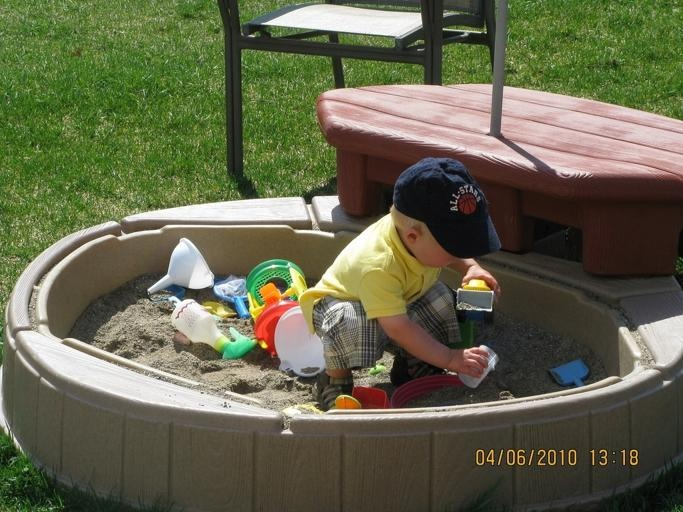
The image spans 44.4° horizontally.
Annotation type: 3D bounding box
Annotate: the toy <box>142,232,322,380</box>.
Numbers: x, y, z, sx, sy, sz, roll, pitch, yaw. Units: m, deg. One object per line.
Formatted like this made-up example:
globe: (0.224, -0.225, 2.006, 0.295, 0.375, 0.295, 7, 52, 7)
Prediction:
toy: (-0.410, 0.172, 3.411, 0.866, 0.249, 0.576, 13, 39, 13)

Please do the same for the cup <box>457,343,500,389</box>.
cup: (0.465, 0.385, 2.879, 0.088, 0.138, 0.087, 34, 14, -9)

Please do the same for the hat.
hat: (0.351, -0.164, 2.794, 0.356, 0.234, 0.205, 28, 44, 30)

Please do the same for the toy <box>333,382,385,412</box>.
toy: (0.062, 0.479, 2.853, 0.115, 0.045, 0.090, 1, 12, 3)

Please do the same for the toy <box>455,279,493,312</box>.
toy: (0.480, 0.150, 3.034, 0.106, 0.087, 0.111, 4, 17, 11)

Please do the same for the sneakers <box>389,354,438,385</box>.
sneakers: (0.262, 0.420, 3.167, 0.124, 0.138, 0.128, -1, 7, -12)
